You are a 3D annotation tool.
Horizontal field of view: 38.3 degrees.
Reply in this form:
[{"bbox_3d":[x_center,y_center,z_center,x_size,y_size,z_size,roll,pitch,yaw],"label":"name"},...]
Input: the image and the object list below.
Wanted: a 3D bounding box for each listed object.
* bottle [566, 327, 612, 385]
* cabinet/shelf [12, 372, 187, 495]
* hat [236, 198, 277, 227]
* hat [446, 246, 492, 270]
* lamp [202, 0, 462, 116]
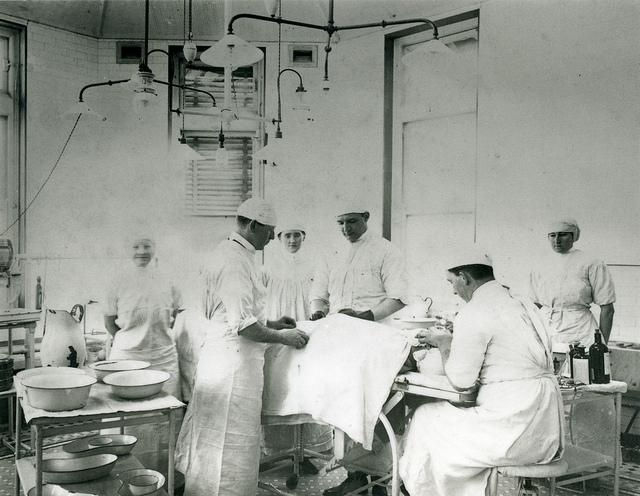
[{"bbox_3d":[2.075,0.833,7.105,0.313,0.427,0.240,1,-1,15],"label":"bottle"},{"bbox_3d":[-1.666,1.129,6.603,0.972,0.870,0.965,1,4,-32],"label":"cabinet/shelf"},{"bbox_3d":[-0.485,-0.246,7.048,0.260,0.173,0.192,14,7,-15],"label":"hat"},{"bbox_3d":[1.069,0.074,6.646,0.226,0.116,0.166,-6,-1,18],"label":"hat"},{"bbox_3d":[0.227,-1.865,8.921,1.321,0.719,1.293,5,6,32],"label":"lamp"}]
